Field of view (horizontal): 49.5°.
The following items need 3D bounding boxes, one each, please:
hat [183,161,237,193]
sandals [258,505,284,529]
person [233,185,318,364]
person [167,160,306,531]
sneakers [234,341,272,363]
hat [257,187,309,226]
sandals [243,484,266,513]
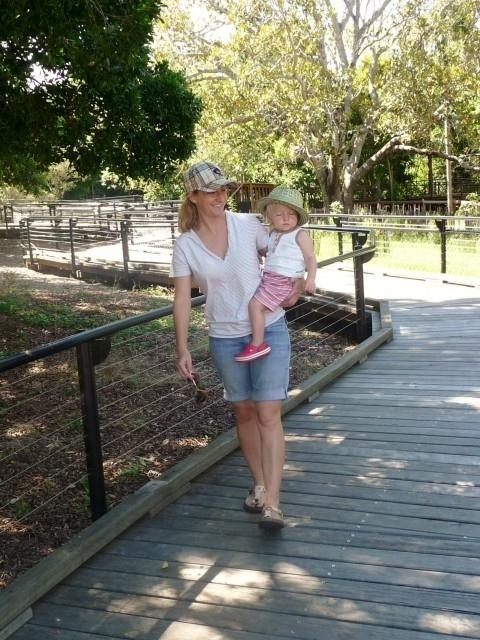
[{"bbox_3d":[-0.128,-0.597,2.169,0.211,0.143,0.180,-5,6,-5],"label":"hat"},{"bbox_3d":[0.134,0.834,2.168,0.086,0.129,0.106,-4,7,11],"label":"sandals"},{"bbox_3d":[0.135,-0.204,2.266,0.342,0.723,0.395,10,15,44],"label":"person"},{"bbox_3d":[-0.011,0.121,2.293,0.562,1.593,0.443,-2,8,24],"label":"person"},{"bbox_3d":[0.050,0.138,2.176,0.155,0.062,0.069,-20,12,-25],"label":"sneakers"},{"bbox_3d":[0.196,-0.514,2.279,0.198,0.101,0.180,16,-5,-4],"label":"hat"},{"bbox_3d":[0.070,0.846,2.447,0.074,0.052,0.136,0,4,2],"label":"sandals"}]
